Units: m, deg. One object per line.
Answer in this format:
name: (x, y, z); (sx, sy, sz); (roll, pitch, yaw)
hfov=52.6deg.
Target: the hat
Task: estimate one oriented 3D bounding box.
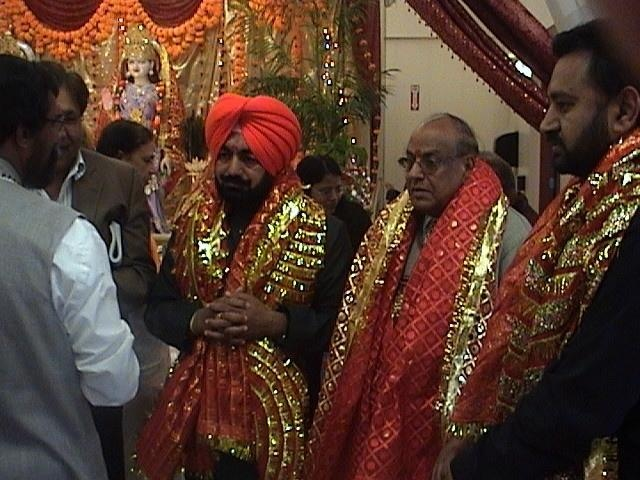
hat: (-0.268, -0.394, 2.729); (0.289, 0.307, 0.358); (10, 9, 12)
